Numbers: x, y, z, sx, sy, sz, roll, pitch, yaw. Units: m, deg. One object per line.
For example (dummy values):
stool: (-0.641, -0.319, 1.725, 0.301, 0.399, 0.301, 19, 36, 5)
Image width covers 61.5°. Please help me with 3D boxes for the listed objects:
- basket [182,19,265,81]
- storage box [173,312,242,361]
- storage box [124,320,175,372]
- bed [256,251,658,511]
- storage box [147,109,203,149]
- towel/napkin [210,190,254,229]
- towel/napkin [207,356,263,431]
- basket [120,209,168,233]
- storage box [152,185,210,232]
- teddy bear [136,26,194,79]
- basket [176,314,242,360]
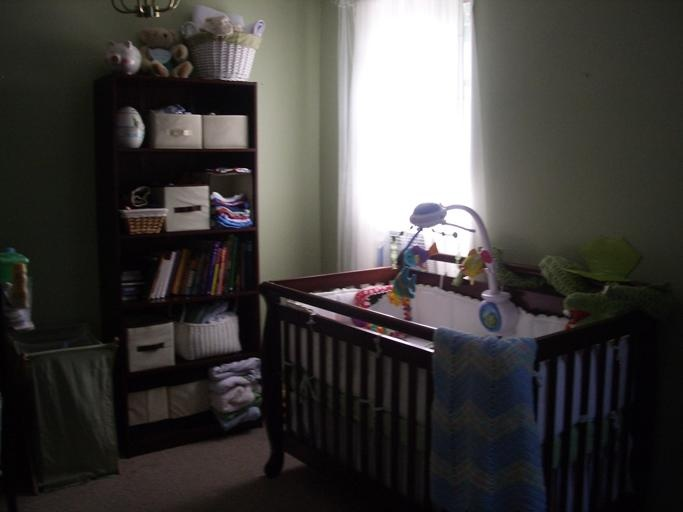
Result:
basket: (-0.663, -1.146, 3.240, 0.421, 0.332, 0.424, -1, 11, -34)
storage box: (-0.726, 0.461, 3.191, 0.322, 0.214, 0.239, 0, 0, -38)
storage box: (-1.065, 0.481, 3.116, 0.232, 0.221, 0.236, 5, 6, 42)
bed: (0.476, 0.369, 2.356, 0.958, 0.952, 1.560, -6, 11, -34)
storage box: (-0.876, -0.668, 3.051, 0.271, 0.194, 0.149, -3, 12, -17)
towel/napkin: (-0.609, -0.248, 3.202, 0.120, 0.139, 0.331, -1, -3, 39)
towel/napkin: (-0.576, 0.764, 3.176, 0.394, 0.386, 0.119, -4, -4, -21)
basket: (-1.009, -0.187, 2.955, 0.183, 0.089, 0.134, -4, 6, -28)
storage box: (-0.881, -0.262, 3.191, 0.270, 0.255, 0.266, -3, 5, -45)
teddy bear: (-0.979, -1.120, 3.145, 0.248, 0.235, 0.133, 0, 29, -2)
basket: (-0.765, 0.454, 3.313, 0.381, 0.233, 0.281, 0, 9, -29)
